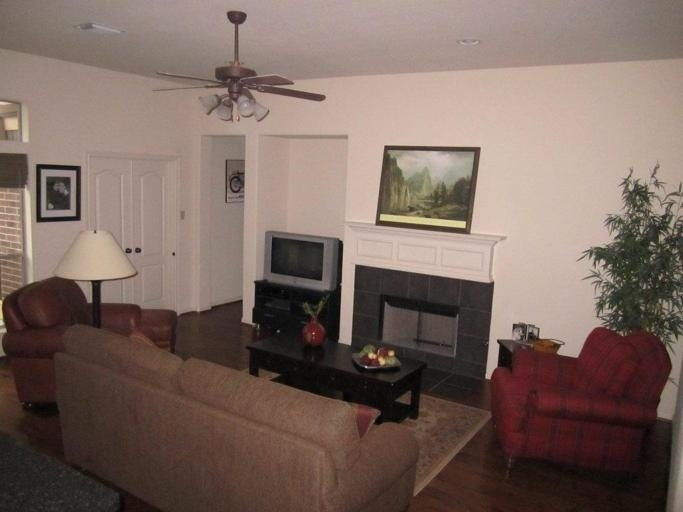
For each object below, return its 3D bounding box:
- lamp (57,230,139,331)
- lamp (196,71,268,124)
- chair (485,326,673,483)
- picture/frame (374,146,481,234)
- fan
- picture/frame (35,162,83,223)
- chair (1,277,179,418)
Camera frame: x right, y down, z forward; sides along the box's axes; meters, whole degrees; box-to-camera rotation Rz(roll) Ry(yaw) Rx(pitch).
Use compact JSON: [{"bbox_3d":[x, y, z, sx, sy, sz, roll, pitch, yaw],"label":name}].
[{"bbox_3d":[-1.946,-0.002,4.230,0.586,0.387,0.261,-2,13,-26],"label":"lamp"},{"bbox_3d":[-0.793,-1.288,4.480,0.696,0.381,0.702,14,19,36],"label":"lamp"},{"bbox_3d":[1.973,1.193,4.628,1.216,1.111,1.276,4,10,15],"label":"chair"},{"bbox_3d":[1.026,-0.753,6.047,0.937,0.786,0.090,9,9,28],"label":"picture/frame"},{"bbox_3d":[-0.895,-1.636,4.322,1.304,0.645,1.353,7,12,19],"label":"fan"},{"bbox_3d":[-3.351,-0.767,6.314,0.059,0.830,0.718,6,6,36],"label":"picture/frame"},{"bbox_3d":[-2.342,0.893,5.176,1.274,0.982,1.275,-1,15,-12],"label":"chair"}]
